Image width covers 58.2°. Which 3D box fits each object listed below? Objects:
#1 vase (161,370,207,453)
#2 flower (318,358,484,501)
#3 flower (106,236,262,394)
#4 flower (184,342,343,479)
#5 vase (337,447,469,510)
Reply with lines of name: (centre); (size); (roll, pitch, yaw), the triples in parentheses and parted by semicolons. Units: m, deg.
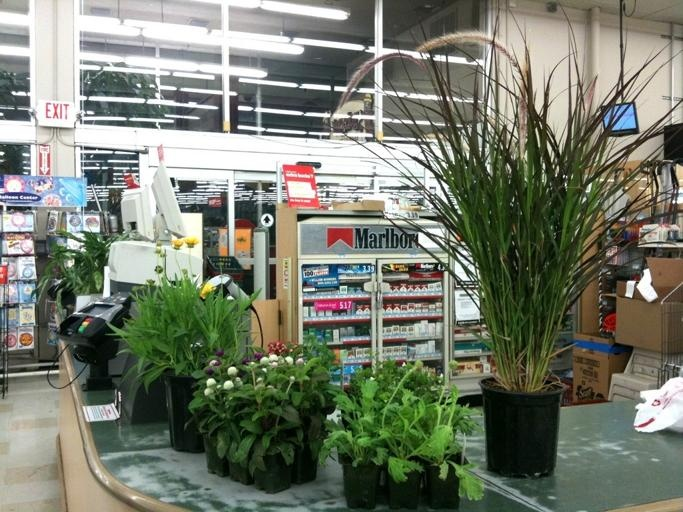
vase: (-0.574, 0.587, 2.294); (0.191, 0.289, 0.213); (2, 1, -22)
flower: (0.172, 0.558, 1.845); (0.379, 0.334, 0.425); (-1, 6, -2)
flower: (-0.609, 0.251, 2.660); (0.679, 0.818, 0.696); (1, 0, -33)
flower: (-0.247, 0.460, 2.078); (0.367, 0.361, 0.447); (2, 4, 42)
vase: (0.170, 0.688, 1.831); (0.257, 0.128, 0.184); (0, -3, 0)
